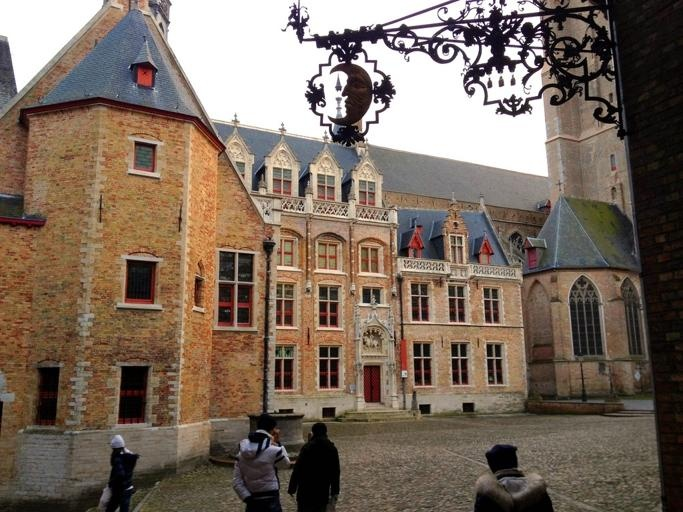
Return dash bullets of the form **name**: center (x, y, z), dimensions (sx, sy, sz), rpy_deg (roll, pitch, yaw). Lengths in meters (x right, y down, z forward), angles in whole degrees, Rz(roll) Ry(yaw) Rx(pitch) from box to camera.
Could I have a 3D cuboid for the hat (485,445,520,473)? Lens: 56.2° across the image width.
- **hat**: center (1.902, 2.389, 7.573), dimensions (0.333, 0.331, 0.372), rpy_deg (3, -13, -6)
